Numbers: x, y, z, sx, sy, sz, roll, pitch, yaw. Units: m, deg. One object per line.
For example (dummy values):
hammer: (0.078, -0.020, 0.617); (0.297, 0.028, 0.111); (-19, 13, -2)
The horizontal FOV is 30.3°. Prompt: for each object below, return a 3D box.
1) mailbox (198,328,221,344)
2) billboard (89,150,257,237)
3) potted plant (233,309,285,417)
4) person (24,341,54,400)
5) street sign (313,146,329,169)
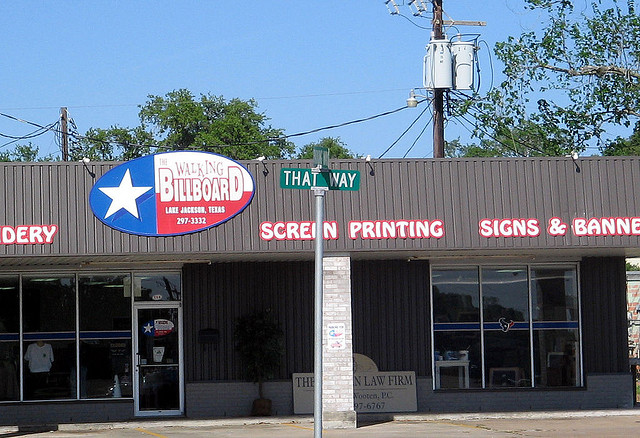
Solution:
mailbox: (-3.486, 3.692, 37.188); (0.757, 0.407, 0.533); (-1, -11, -8)
billboard: (-4.390, -0.783, 35.125); (5.261, 2.533, 0.062); (-5, 15, -23)
potted plant: (-1.863, 4.485, 36.956); (1.491, 3.376, 0.839); (-1, -8, -8)
person: (-8.713, 4.744, 36.926); (0.777, 1.801, 0.251); (0, -8, -13)
street sign: (0.026, -1.414, 27.268); (0.329, 0.577, 0.586); (-2, -8, -2)
